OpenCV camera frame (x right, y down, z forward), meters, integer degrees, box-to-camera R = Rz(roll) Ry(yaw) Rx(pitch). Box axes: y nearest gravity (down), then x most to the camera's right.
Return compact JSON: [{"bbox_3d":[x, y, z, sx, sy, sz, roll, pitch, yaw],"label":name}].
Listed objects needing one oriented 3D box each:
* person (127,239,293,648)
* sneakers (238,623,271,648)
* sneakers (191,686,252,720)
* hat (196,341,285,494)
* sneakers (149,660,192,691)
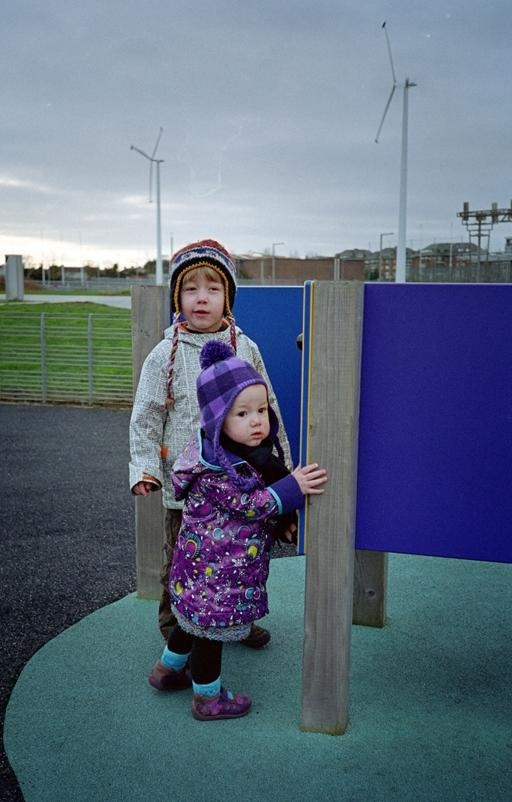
[{"bbox_3d":[-0.158,0.149,2.403,0.550,1.399,0.386,-1,13,-12],"label":"person"},{"bbox_3d":[0.005,0.883,2.581,0.149,0.070,0.071,-5,9,15],"label":"sneakers"},{"bbox_3d":[-0.106,0.921,2.108,0.149,0.094,0.084,-2,6,-9],"label":"sneakers"},{"bbox_3d":[-0.067,0.011,1.893,0.220,0.356,0.205,-1,2,-33],"label":"hat"},{"bbox_3d":[-0.276,0.903,2.260,0.072,0.073,0.152,12,10,32],"label":"sneakers"}]
